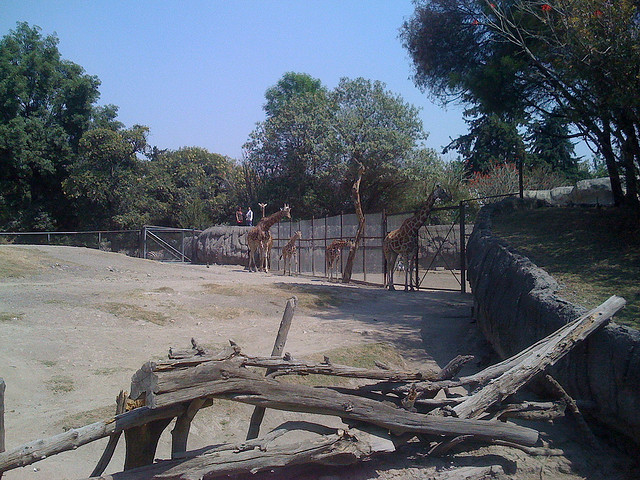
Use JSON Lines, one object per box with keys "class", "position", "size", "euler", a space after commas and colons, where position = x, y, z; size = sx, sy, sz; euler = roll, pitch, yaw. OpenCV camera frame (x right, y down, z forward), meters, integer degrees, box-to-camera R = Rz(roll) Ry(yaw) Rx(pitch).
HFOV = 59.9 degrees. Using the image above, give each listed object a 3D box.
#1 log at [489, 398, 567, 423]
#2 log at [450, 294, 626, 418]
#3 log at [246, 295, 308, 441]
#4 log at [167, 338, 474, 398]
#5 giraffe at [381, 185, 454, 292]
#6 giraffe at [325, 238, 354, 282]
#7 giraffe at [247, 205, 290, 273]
{"class": "log", "position": [2.534, 2.095, 6.848], "size": [0.873, 0.330, 0.280], "euler": [-7, -3, -2]}
{"class": "log", "position": [2.863, 1.512, 7.162], "size": [2.036, 0.306, 0.302], "euler": [-36, 34, -6]}
{"class": "log", "position": [-0.511, 1.461, 7.071], "size": [0.488, 0.196, 2.173], "euler": [18, 44, 2]}
{"class": "log", "position": [-0.040, 1.695, 7.343], "size": [3.547, 0.671, 0.629], "euler": [5, 29, -13]}
{"class": "giraffe", "position": [2.606, -0.031, 16.539], "size": [0.856, 3.039, 2.271], "euler": [1, -2, -27]}
{"class": "giraffe", "position": [0.528, 0.688, 20.051], "size": [0.436, 1.508, 1.909], "euler": [1, 14, -9]}
{"class": "giraffe", "position": [-2.103, 0.006, 21.431], "size": [0.715, 2.453, 3.173], "euler": [6, -10, -37]}
